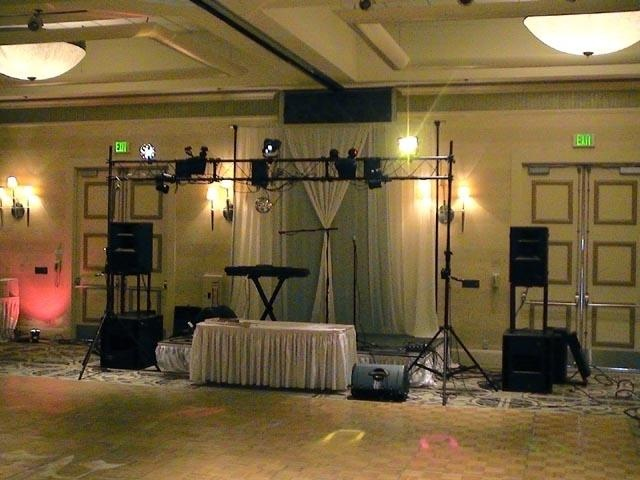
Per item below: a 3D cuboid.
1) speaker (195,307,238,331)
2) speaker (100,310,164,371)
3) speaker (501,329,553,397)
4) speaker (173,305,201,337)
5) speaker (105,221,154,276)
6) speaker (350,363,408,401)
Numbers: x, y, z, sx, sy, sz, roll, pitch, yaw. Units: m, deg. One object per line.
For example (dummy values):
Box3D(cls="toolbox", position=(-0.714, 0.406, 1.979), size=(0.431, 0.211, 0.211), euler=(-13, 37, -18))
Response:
Box3D(cls="speaker", position=(-1.535, 1.070, 9.265), size=(0.386, 0.405, 0.152), euler=(-9, 7, -7))
Box3D(cls="speaker", position=(-2.800, 1.473, 9.613), size=(0.819, 0.858, 0.828), euler=(1, -1, 2))
Box3D(cls="speaker", position=(2.685, 1.620, 8.569), size=(0.667, 0.868, 0.741), euler=(0, 2, 13))
Box3D(cls="speaker", position=(-2.139, 1.302, 10.166), size=(0.459, 0.481, 0.254), euler=(-1, -4, 28))
Box3D(cls="speaker", position=(-2.759, 0.126, 9.151), size=(0.641, 0.758, 0.279), euler=(-1, 5, -14))
Box3D(cls="speaker", position=(0.717, 1.784, 7.983), size=(0.556, 0.467, 0.389), euler=(2, -2, 9))
